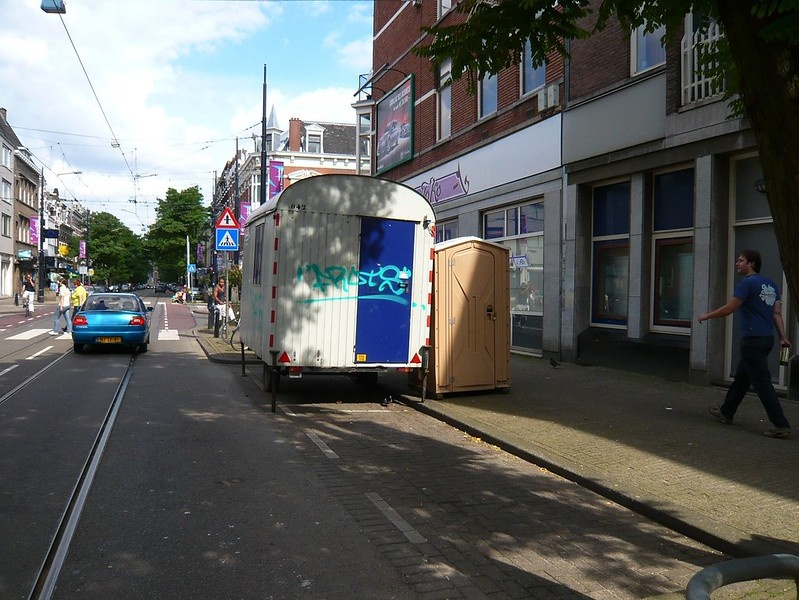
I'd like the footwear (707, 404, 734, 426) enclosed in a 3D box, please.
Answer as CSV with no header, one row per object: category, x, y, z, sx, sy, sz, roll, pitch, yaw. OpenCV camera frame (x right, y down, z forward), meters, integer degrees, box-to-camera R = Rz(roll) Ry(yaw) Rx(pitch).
footwear,4.227,1.539,8.559,0.125,0.171,0.371,-1,12,-14

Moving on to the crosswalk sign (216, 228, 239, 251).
crosswalk sign,-5.082,-1.787,19.096,0.697,0.787,0.038,2,-3,-39

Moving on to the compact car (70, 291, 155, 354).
compact car,-7.318,0.621,16.402,1.737,1.492,1.856,-1,4,-24
